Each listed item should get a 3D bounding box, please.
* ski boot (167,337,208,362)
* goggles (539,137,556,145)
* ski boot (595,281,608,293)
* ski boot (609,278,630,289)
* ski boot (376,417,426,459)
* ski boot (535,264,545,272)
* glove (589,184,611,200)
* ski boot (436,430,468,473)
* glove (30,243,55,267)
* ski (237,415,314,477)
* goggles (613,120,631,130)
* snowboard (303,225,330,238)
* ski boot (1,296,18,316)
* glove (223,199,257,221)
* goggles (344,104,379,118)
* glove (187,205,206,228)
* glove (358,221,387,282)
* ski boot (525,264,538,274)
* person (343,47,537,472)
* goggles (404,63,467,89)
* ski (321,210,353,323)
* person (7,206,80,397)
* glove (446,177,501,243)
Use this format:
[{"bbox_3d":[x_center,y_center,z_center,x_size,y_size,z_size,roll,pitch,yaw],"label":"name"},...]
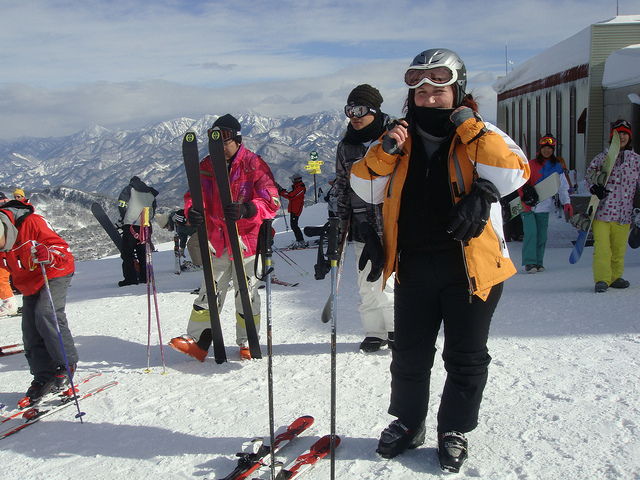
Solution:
[{"bbox_3d":[-1.312,1.066,5.317,0.406,0.168,0.171,34,-12,-27],"label":"ski boot"},{"bbox_3d":[3.548,-1.549,8.231,0.233,0.116,0.125,-2,10,7],"label":"goggles"},{"bbox_3d":[3.636,0.607,6.819,0.141,0.139,0.081,1,11,22],"label":"ski boot"},{"bbox_3d":[3.912,0.571,6.976,0.311,0.135,0.113,-3,7,5],"label":"ski boot"},{"bbox_3d":[0.583,1.391,3.773,0.479,0.212,0.173,0,3,-41],"label":"ski boot"},{"bbox_3d":[3.549,0.453,8.494,0.146,0.110,0.096,-5,10,-5],"label":"ski boot"},{"bbox_3d":[3.639,-0.628,6.855,0.245,0.190,0.125,3,12,33],"label":"glove"},{"bbox_3d":[0.898,1.425,3.577,0.202,0.244,0.196,-1,11,13],"label":"ski boot"},{"bbox_3d":[-2.501,0.141,4.736,0.211,0.200,0.072,5,2,-27],"label":"glove"},{"bbox_3d":[-0.281,1.461,3.782,0.159,0.081,1.111,7,13,20],"label":"ski"},{"bbox_3d":[3.911,-1.499,6.849,0.141,0.075,0.178,8,8,10],"label":"goggles"},{"bbox_3d":[-0.046,-0.079,5.285,0.198,0.071,0.137,1,-3,-4],"label":"snowboard"},{"bbox_3d":[-5.010,1.074,8.466,0.255,0.283,0.157,-13,14,-40],"label":"ski boot"},{"bbox_3d":[-0.737,-0.281,4.988,0.244,0.103,0.169,-6,2,-36],"label":"glove"},{"bbox_3d":[0.395,-1.225,4.990,0.320,0.124,0.178,-2,10,6],"label":"goggles"},{"bbox_3d":[-1.175,-0.214,5.010,0.068,0.127,0.177,7,47,-32],"label":"glove"},{"bbox_3d":[0.367,0.095,3.709,0.109,0.375,0.280,-2,18,-21],"label":"glove"},{"bbox_3d":[3.417,0.461,8.511,0.082,0.098,0.221,6,-8,-12],"label":"ski boot"},{"bbox_3d":[0.800,0.132,3.536,1.045,2.757,0.534,0,11,21],"label":"person"},{"bbox_3d":[0.756,-1.081,3.455,0.388,0.159,0.146,-2,11,10],"label":"goggles"},{"bbox_3d":[0.100,0.240,4.382,0.123,0.935,0.136,-3,19,-13],"label":"ski"},{"bbox_3d":[-2.552,0.541,4.840,0.518,1.681,0.571,-7,11,-16],"label":"person"},{"bbox_3d":[0.966,-0.194,3.334,0.289,0.383,0.197,27,-4,-16],"label":"glove"}]
